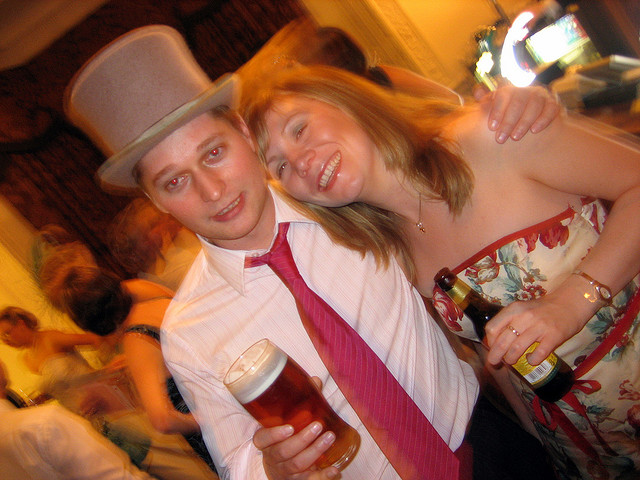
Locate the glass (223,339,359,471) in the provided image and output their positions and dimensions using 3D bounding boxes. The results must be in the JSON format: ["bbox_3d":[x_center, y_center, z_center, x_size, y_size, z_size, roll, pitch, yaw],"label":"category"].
[{"bbox_3d":[-0.114,0.744,2.152,0.339,0.620,0.283,-36,-6,-7],"label":"glass"}]

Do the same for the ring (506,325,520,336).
[{"bbox_3d":[0.897,0.415,2.285,0.029,0.063,0.012,-38,-7,12],"label":"ring"}]
